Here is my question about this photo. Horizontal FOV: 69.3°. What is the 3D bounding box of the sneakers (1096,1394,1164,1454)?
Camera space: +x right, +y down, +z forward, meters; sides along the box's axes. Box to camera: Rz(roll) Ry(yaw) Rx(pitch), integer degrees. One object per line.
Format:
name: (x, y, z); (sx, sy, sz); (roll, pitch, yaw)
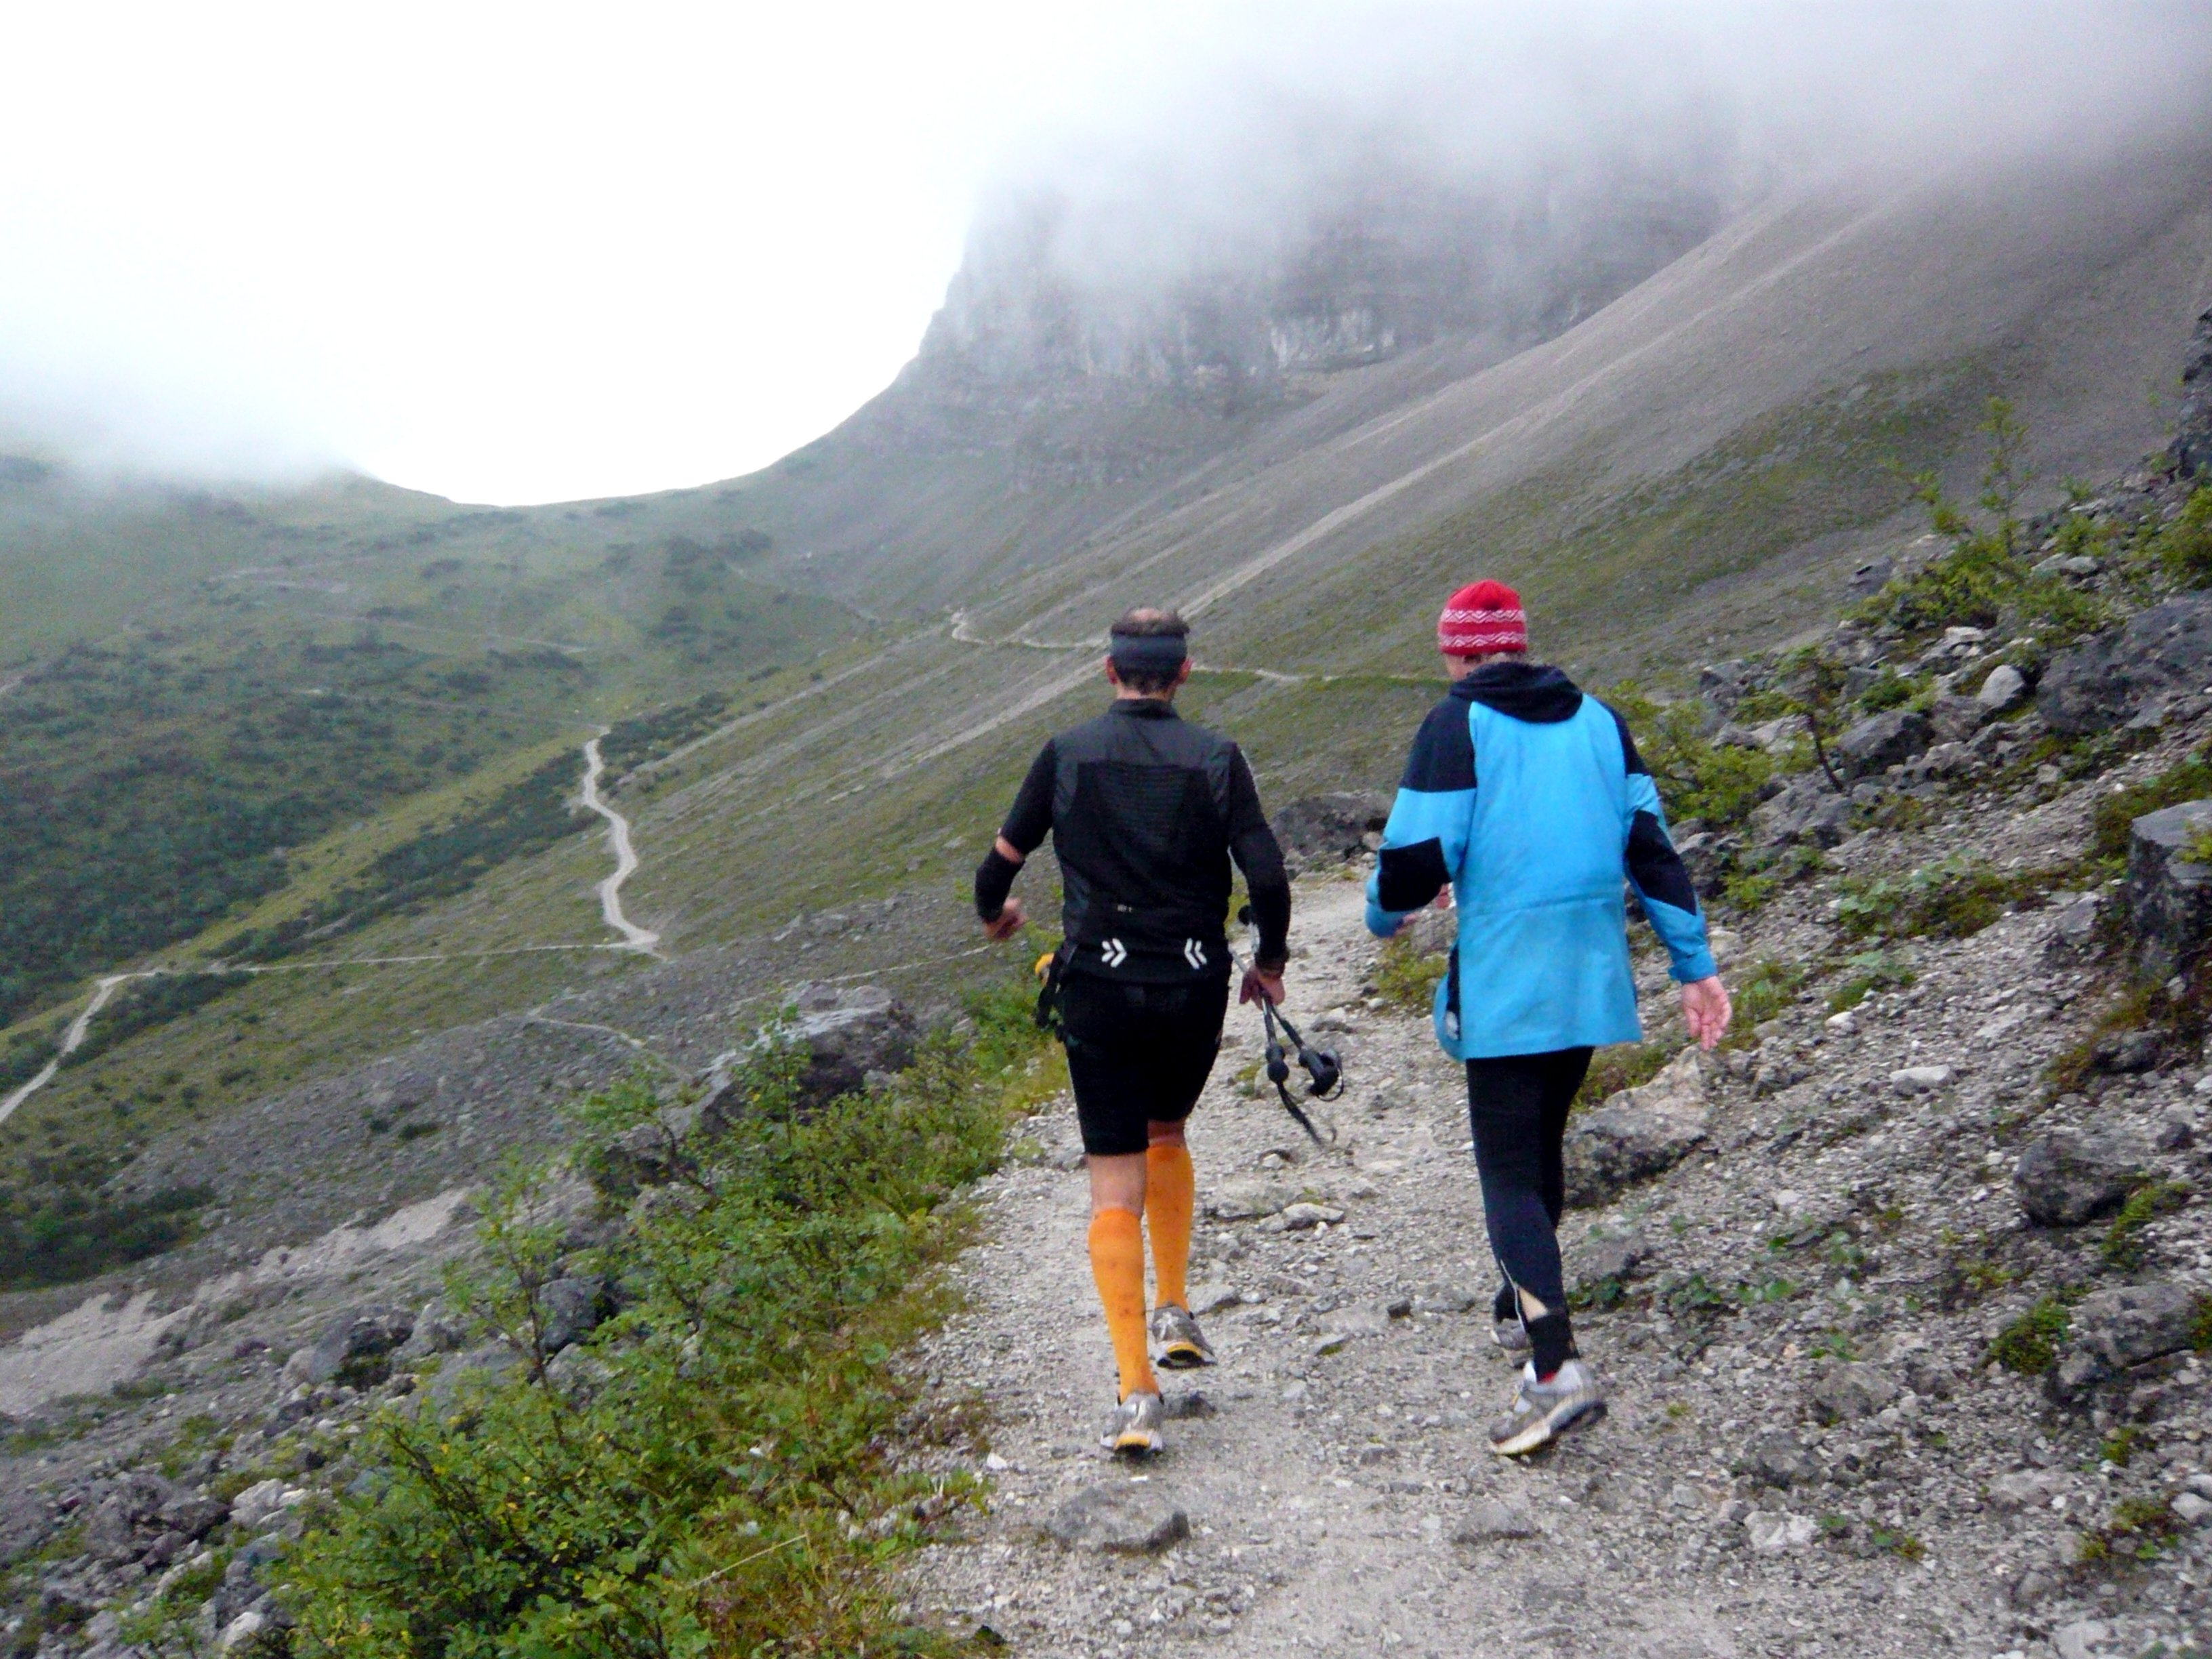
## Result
sneakers: (0.167, 3.648, 9.951); (0.224, 0.233, 0.518); (2, 0, -3)

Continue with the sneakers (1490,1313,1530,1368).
sneakers: (2.560, 3.228, 10.166); (0.182, 0.221, 0.494); (0, -1, 2)

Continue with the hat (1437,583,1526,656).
hat: (2.291, -1.263, 9.850); (0.500, 0.391, 0.496); (-2, 2, 9)
